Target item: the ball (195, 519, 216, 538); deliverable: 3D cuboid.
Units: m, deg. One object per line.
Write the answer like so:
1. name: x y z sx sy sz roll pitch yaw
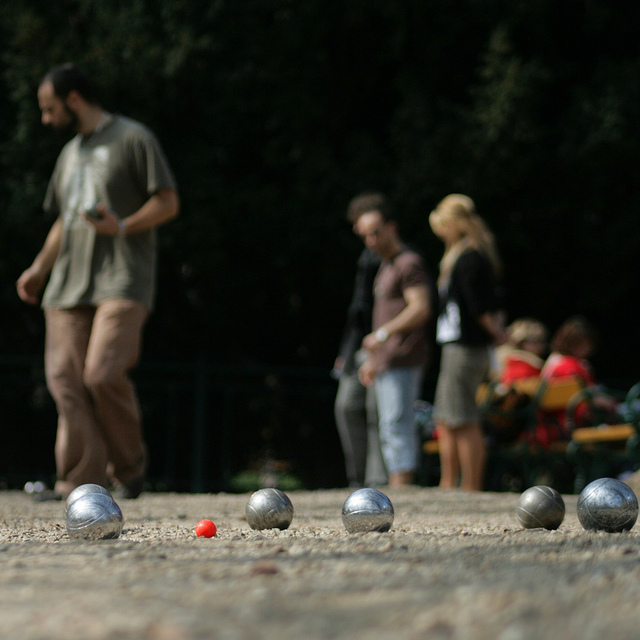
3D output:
1. ball: -0.438 0.802 5.171 0.056 0.071 0.059 5 9 -1

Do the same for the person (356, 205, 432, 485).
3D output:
1. person: 0.430 0.135 7.556 0.403 1.609 0.476 -1 -2 1

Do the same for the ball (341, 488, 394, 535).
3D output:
1. ball: 0.189 0.710 5.046 0.191 0.155 0.252 -1 4 7

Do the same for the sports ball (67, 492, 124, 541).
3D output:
1. sports ball: -0.808 0.730 4.905 0.171 0.195 0.164 -1 -13 0

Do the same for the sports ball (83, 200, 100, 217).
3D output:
1. sports ball: -1.069 -0.517 6.256 0.077 0.083 0.081 3 1 0

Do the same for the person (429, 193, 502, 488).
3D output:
1. person: 0.852 0.104 7.718 0.394 1.703 0.406 -1 -2 8

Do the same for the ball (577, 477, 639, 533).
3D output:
1. ball: 1.096 0.704 5.070 0.221 0.196 0.167 -2 -2 11

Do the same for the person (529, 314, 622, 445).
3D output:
1. person: 1.618 0.392 8.474 0.570 0.778 0.602 -2 -2 9

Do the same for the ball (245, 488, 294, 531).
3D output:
1. ball: -0.194 0.740 5.226 0.232 0.153 0.191 -1 1 1
